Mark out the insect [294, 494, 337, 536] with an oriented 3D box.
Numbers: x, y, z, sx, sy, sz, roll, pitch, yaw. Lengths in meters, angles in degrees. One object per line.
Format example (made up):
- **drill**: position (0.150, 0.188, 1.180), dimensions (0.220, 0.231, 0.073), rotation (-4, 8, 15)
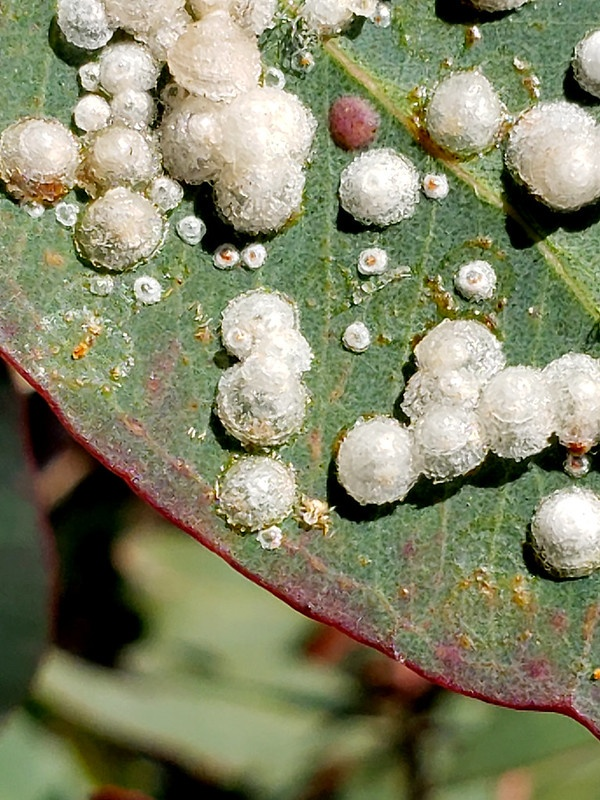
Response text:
- **insect**: position (0.015, 0.117, 0.931), dimensions (0.040, 0.013, 0.032), rotation (16, 73, 8)
